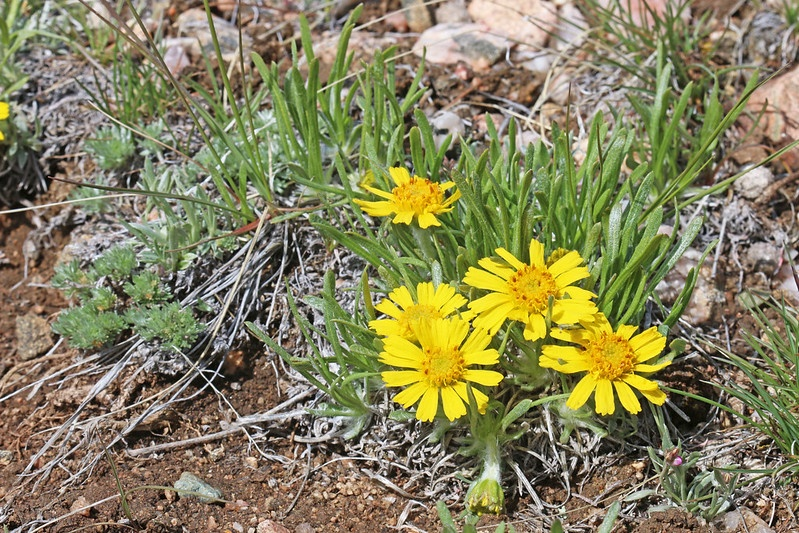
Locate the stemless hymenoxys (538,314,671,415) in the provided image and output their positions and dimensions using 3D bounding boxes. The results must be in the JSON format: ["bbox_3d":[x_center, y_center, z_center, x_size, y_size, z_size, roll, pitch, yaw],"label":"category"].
[{"bbox_3d":[0.954,0.419,2.925,0.465,0.128,0.397,-9,42,58],"label":"stemless hymenoxys"}]

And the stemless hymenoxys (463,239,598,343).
[{"bbox_3d":[0.574,0.132,2.953,0.543,0.169,0.589,17,40,21],"label":"stemless hymenoxys"}]

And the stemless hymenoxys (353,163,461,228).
[{"bbox_3d":[0.028,-0.289,3.054,0.330,0.125,0.352,-4,61,0],"label":"stemless hymenoxys"}]

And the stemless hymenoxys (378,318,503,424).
[{"bbox_3d":[0.191,0.432,2.943,0.557,0.153,0.569,5,21,-4],"label":"stemless hymenoxys"}]
